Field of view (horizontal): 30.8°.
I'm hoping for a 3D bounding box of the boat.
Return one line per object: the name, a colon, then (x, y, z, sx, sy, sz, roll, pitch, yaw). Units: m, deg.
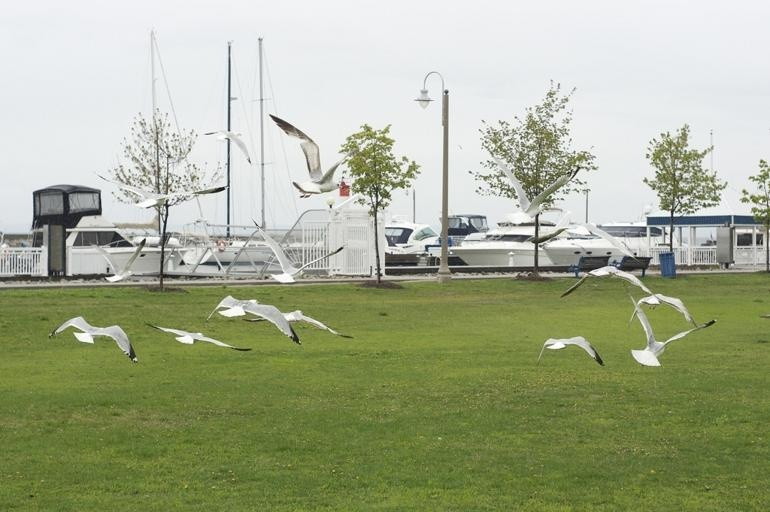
boat: (-1.672, -0.560, 55.479, 20.310, 3.244, 4.450, 1, -4, -4)
